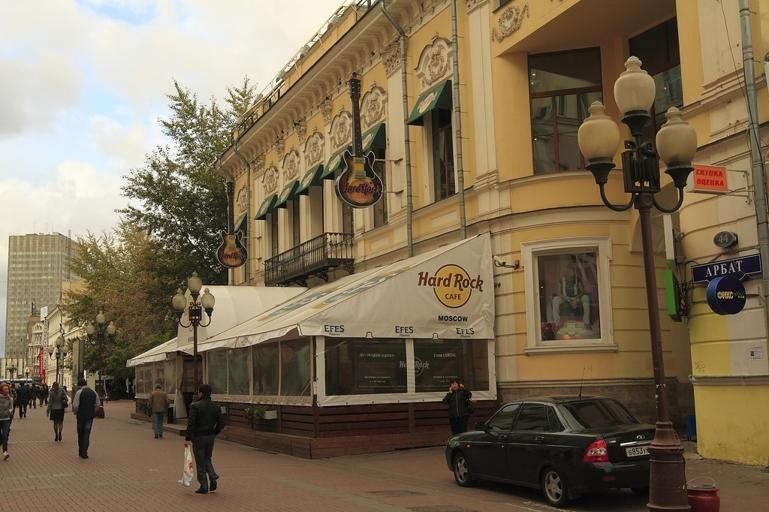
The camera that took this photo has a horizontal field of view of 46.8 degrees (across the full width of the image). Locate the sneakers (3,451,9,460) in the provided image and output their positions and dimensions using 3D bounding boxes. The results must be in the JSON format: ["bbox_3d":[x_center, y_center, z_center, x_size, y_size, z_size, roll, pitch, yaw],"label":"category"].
[{"bbox_3d":[-11.102,5.909,26.191,0.176,0.120,0.240,9,-40,-30],"label":"sneakers"}]

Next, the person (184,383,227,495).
[{"bbox_3d":[-4.456,4.553,22.122,0.895,2.663,0.887,0,-11,-13],"label":"person"}]
